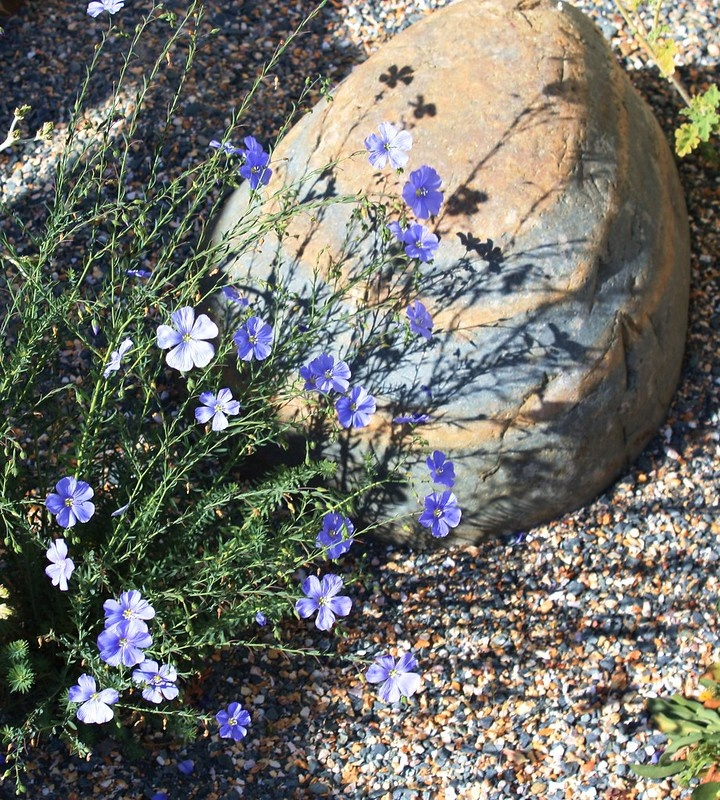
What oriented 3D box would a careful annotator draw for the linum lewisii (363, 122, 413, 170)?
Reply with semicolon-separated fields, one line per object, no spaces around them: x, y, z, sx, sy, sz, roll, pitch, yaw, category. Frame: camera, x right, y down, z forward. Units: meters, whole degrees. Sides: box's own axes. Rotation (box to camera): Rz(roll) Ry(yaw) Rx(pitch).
0.089;-0.723;3.877;0.124;0.127;0.164;-6;53;17;linum lewisii

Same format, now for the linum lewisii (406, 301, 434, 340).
0.155;-0.237;3.875;0.043;0.101;0.104;-23;31;43;linum lewisii

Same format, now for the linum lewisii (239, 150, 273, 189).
-0.329;-0.675;3.881;0.031;0.132;0.130;0;93;28;linum lewisii

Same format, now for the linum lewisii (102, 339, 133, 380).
-0.648;-0.114;3.472;0.059;0.108;0.033;27;30;0;linum lewisii

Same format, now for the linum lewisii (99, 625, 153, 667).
-0.630;0.648;3.522;0.128;0.121;0.040;-31;16;3;linum lewisii

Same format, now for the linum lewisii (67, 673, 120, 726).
-0.743;0.808;3.611;0.145;0.160;0.036;12;96;-3;linum lewisii

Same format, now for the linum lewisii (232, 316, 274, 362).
-0.312;-0.174;3.690;0.039;0.121;0.114;12;79;59;linum lewisii

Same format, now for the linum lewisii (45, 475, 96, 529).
-0.778;0.270;3.503;0.047;0.149;0.131;-14;65;63;linum lewisii

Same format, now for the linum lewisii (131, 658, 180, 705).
-0.570;0.769;3.678;0.152;0.137;0.035;-13;19;18;linum lewisii

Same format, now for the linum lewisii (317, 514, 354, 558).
-0.071;0.381;3.764;0.145;0.049;0.122;-10;91;-16;linum lewisii
